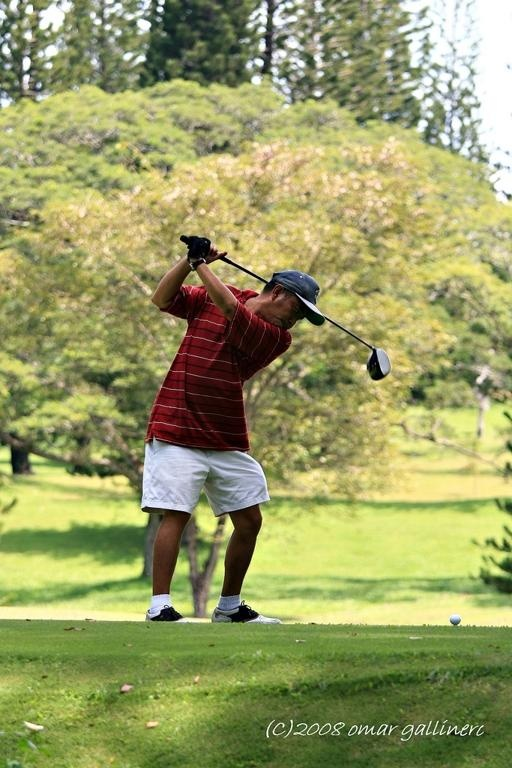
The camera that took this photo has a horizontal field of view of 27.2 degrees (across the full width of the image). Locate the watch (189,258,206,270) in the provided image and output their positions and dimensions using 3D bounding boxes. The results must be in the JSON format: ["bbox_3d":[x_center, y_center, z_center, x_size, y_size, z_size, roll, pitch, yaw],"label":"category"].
[{"bbox_3d":[-0.256,-0.506,4.479,0.062,0.021,0.056,-18,2,17],"label":"watch"}]

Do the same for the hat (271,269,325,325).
[{"bbox_3d":[0.199,-0.402,4.756,0.303,0.153,0.188,35,-1,0],"label":"hat"}]

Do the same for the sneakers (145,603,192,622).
[{"bbox_3d":[-0.407,0.982,4.536,0.236,0.077,0.074,-4,-10,21],"label":"sneakers"}]

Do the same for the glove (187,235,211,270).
[{"bbox_3d":[-0.257,-0.558,4.487,0.118,0.152,0.207,2,2,0],"label":"glove"}]

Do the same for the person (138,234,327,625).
[{"bbox_3d":[-0.189,0.244,4.656,0.672,1.725,0.756,3,3,33],"label":"person"}]

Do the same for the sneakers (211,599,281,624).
[{"bbox_3d":[-0.059,1.053,4.917,0.360,0.122,0.110,1,-11,-1],"label":"sneakers"}]
